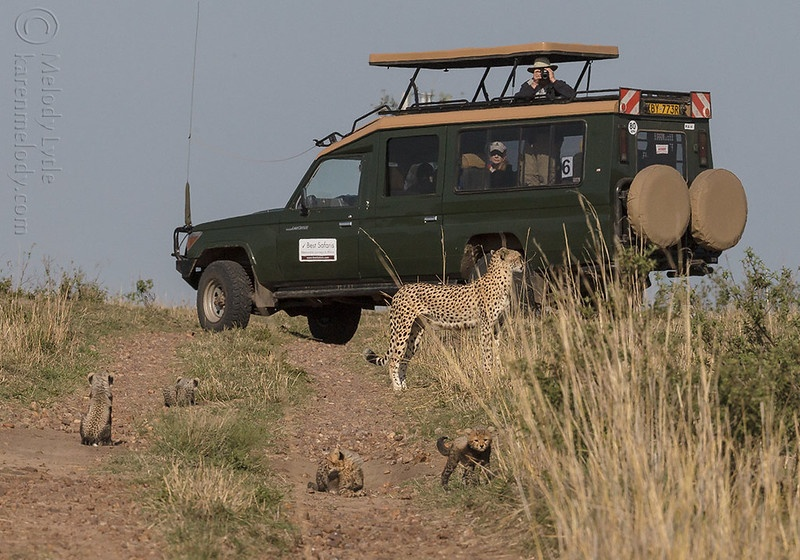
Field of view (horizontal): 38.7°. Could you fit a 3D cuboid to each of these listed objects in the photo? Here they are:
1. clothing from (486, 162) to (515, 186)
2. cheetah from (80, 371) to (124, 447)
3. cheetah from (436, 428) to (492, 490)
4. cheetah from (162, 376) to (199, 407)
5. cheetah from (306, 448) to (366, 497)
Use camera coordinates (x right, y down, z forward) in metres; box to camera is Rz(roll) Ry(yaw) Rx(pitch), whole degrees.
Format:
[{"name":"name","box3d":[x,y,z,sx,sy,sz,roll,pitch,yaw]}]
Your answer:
[{"name":"clothing","box3d":[1.268,-1.352,14.558,0.284,0.347,0.240,-3,-1,21]},{"name":"cheetah","box3d":[-3.289,1.404,12.657,0.411,0.828,0.533,0,0,-15]},{"name":"cheetah","box3d":[0.583,1.749,11.411,0.276,0.570,0.946,2,-12,-26]},{"name":"cheetah","box3d":[-2.666,1.371,13.868,0.412,0.393,0.499,1,8,-12]},{"name":"cheetah","box3d":[-0.659,1.945,11.713,0.569,0.417,0.346,2,7,-7]}]
